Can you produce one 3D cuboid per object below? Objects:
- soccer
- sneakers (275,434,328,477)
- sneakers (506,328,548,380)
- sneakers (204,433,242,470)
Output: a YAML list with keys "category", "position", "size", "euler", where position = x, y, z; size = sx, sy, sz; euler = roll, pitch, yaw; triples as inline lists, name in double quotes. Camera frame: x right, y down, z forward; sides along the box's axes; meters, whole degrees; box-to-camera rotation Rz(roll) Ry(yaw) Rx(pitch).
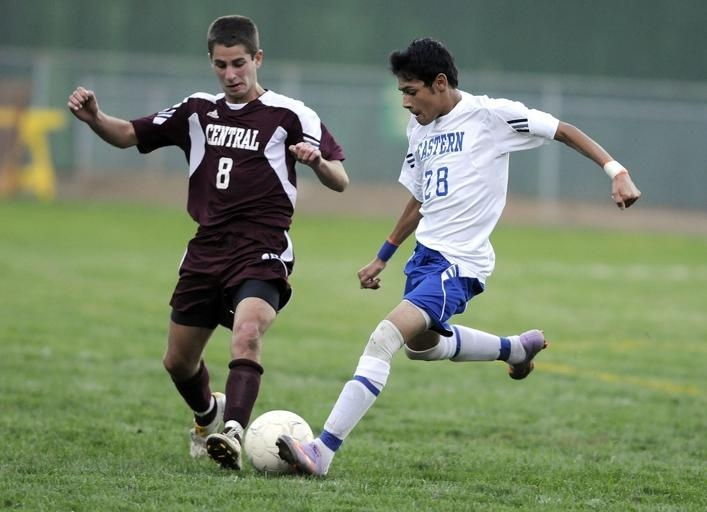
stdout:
- category: "soccer"
  position: [-0.574, 1.394, 7.599]
  size: [0.516, 0.529, 0.528]
  euler: [12, 4, 1]
- category: "sneakers"
  position: [-0.349, 1.398, 7.288]
  size: [0.539, 0.263, 0.197]
  euler: [21, 37, -44]
- category: "sneakers"
  position: [1.417, 0.803, 8.401]
  size: [0.242, 0.447, 0.198]
  euler: [38, 37, 21]
- category: "sneakers"
  position: [-0.907, 1.390, 7.219]
  size: [0.155, 0.331, 0.169]
  euler: [-4, 36, 30]
